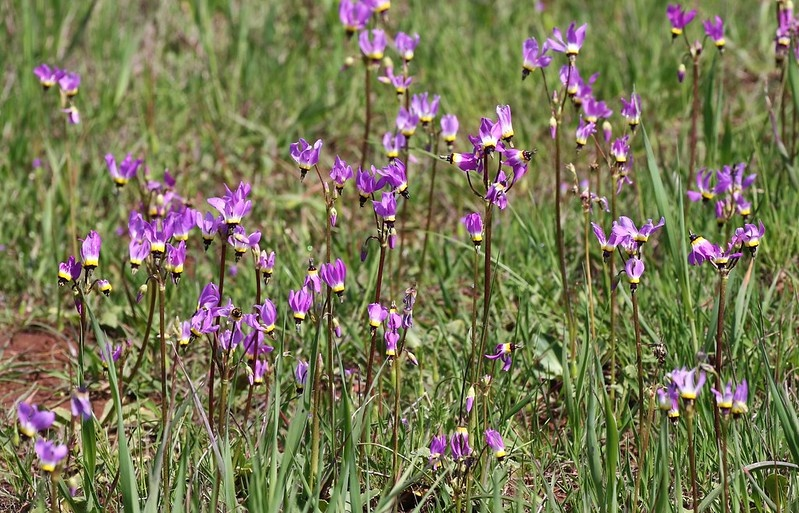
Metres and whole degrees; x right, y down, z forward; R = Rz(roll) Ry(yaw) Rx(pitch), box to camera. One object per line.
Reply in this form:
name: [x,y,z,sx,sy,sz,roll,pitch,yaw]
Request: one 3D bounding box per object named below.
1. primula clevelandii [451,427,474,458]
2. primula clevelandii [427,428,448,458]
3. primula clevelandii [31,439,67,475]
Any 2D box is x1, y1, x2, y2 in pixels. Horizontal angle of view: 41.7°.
primula clevelandii: [0.282,0.838,4.736,0.069,0.166,0.091,-2,23,8]
primula clevelandii: [0.180,0.873,4.883,0.076,0.125,0.088,5,-12,13]
primula clevelandii: [-1.487,0.881,4.487,0.121,0.089,0.147,20,6,11]
